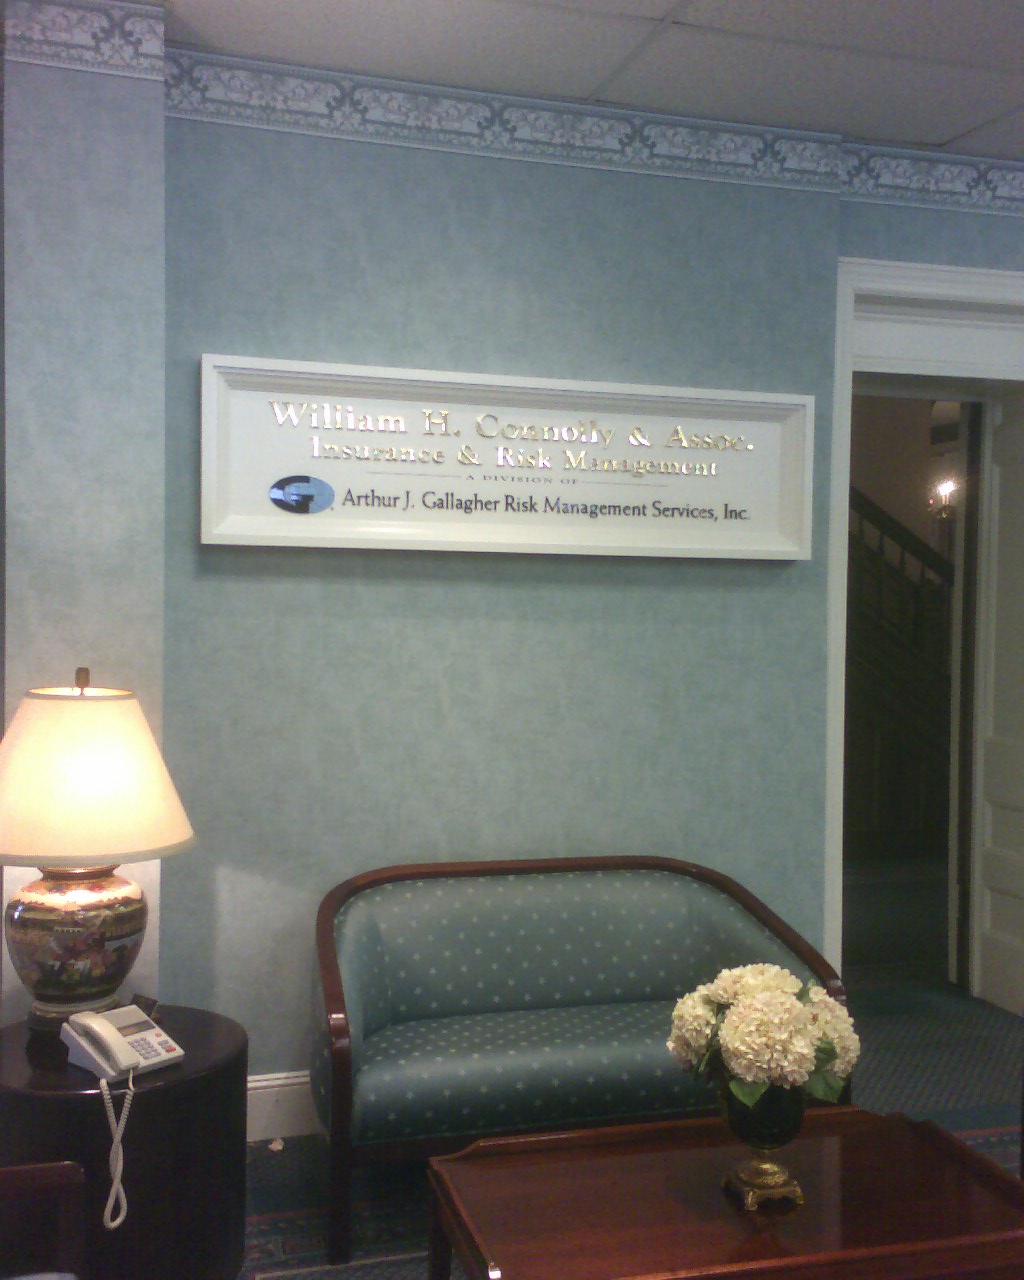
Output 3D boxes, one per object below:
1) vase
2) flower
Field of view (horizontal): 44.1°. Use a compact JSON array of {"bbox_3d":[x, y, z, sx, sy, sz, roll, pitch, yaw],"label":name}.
[{"bbox_3d":[0.470,0.926,2.361,0.146,0.219,0.148,3,-3,-26],"label":"vase"},{"bbox_3d":[0.461,0.729,2.368,0.310,0.215,0.266,6,-3,2],"label":"flower"}]
